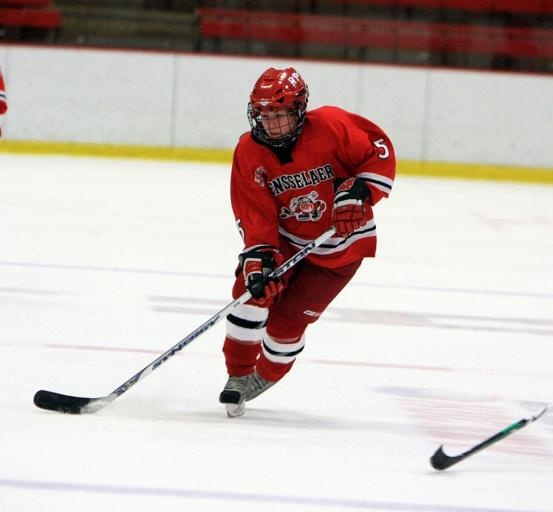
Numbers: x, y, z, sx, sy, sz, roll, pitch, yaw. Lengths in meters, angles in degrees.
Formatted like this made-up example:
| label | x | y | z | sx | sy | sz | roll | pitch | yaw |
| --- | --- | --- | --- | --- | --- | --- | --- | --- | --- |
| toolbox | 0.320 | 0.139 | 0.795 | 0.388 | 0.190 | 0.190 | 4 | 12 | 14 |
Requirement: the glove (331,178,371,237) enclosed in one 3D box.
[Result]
| label | x | y | z | sx | sy | sz | roll | pitch | yaw |
| --- | --- | --- | --- | --- | --- | --- | --- | --- | --- |
| glove | 0.223 | -0.148 | 2.279 | 0.160 | 0.159 | 0.057 | 5 | 14 | 1 |

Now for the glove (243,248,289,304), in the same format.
| label | x | y | z | sx | sy | sz | roll | pitch | yaw |
| --- | --- | --- | --- | --- | --- | --- | --- | --- | --- |
| glove | -0.054 | 0.056 | 2.328 | 0.086 | 0.161 | 0.148 | 29 | -46 | -36 |

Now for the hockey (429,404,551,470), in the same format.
| label | x | y | z | sx | sy | sz | roll | pitch | yaw |
| --- | --- | --- | --- | --- | --- | --- | --- | --- | --- |
| hockey | 0.617 | 0.529 | 2.202 | 0.366 | 0.020 | 0.073 | -18 | -32 | -7 |
